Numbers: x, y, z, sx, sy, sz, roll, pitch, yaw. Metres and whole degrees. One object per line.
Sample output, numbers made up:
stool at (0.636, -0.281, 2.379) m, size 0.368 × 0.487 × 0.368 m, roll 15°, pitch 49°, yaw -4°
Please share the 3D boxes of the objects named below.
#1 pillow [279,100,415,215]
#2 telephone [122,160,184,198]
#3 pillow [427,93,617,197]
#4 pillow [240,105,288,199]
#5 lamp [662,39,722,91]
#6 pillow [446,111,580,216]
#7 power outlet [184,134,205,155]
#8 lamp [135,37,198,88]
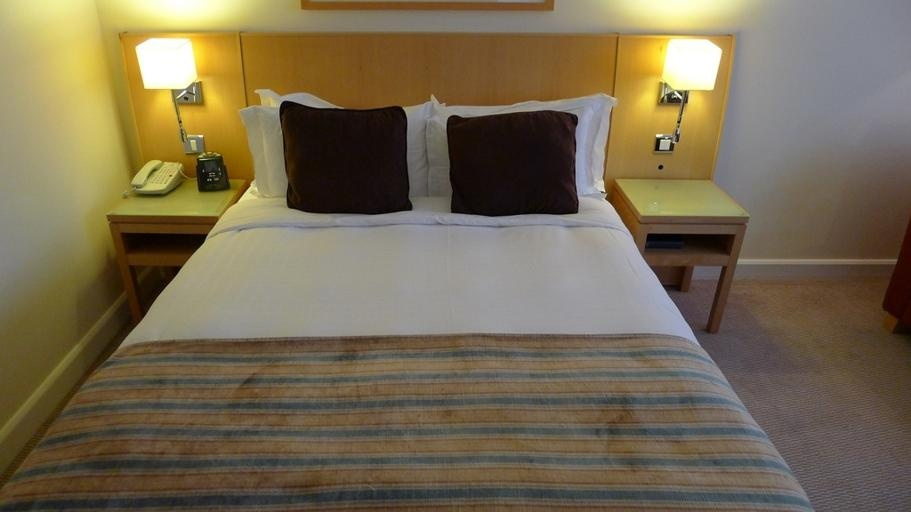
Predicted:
pillow at (-0.697, -0.608, 3.758) m, size 0.811 × 0.596 × 0.256 m, roll -1°, pitch 8°, yaw 2°
telephone at (-2.114, -0.558, 4.179) m, size 0.335 × 0.128 × 0.413 m, roll 18°, pitch 37°, yaw 26°
pillow at (0.402, -0.712, 3.852) m, size 0.869 × 0.502 × 0.163 m, roll -1°, pitch -3°, yaw -1°
pillow at (-1.263, -0.704, 3.946) m, size 0.215 × 0.561 × 0.547 m, roll -11°, pitch 19°, yaw 6°
lamp at (1.535, -1.294, 4.076) m, size 0.405 × 0.361 × 0.367 m, roll 0°, pitch 35°, yaw -1°
pillow at (0.360, -0.565, 3.627) m, size 0.863 × 0.639 × 0.241 m, roll 0°, pitch 4°, yaw -2°
power outlet at (-1.872, -0.810, 4.261) m, size 0.181 × 0.164 × 0.022 m, roll 2°, pitch 25°, yaw -3°
lamp at (-1.886, -1.302, 4.049) m, size 0.385 × 0.348 × 0.358 m, roll 0°, pitch 40°, yaw -2°
